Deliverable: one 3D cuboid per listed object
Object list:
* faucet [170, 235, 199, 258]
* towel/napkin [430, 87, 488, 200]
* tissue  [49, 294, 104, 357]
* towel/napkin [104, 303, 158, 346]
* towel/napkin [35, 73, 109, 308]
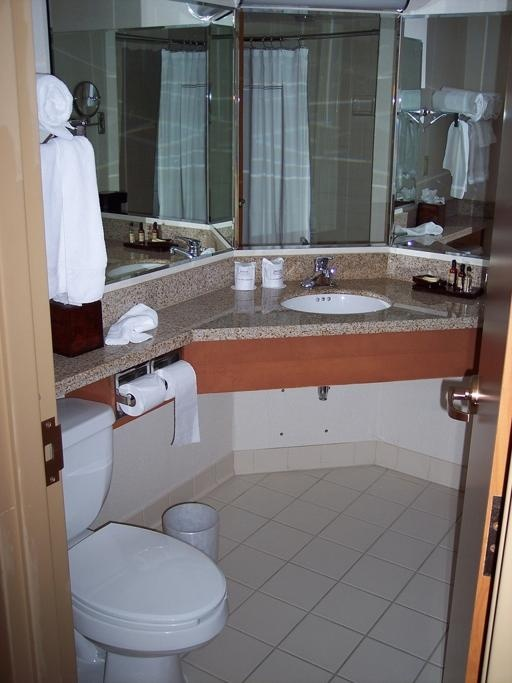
[{"bbox_3d":[-0.281,-0.382,2.269,0.043,0.074,0.135,30,21,35],"label":"faucet"},{"bbox_3d":[0.884,-0.868,2.416,0.348,0.432,0.184,9,33,25],"label":"towel/napkin"},{"bbox_3d":[-0.528,-0.078,1.702,0.163,0.183,0.169,15,20,38],"label":"tissue "},{"bbox_3d":[-0.404,-0.055,1.839,0.154,0.099,0.220,3,12,-8],"label":"towel/napkin"},{"bbox_3d":[-0.493,-0.375,1.471,0.091,0.561,0.198,9,12,28],"label":"towel/napkin"}]
